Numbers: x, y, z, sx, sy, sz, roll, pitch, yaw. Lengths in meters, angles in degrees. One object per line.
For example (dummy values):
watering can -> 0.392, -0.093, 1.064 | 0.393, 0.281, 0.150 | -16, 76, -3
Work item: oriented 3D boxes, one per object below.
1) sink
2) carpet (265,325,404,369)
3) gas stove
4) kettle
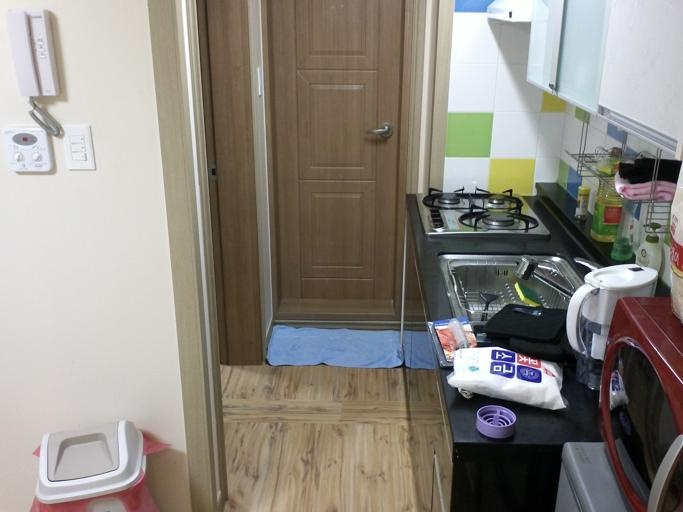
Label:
sink -> 0.681, 0.102, 2.244 | 0.542, 0.243, 0.440 | 1, 23, 0
carpet -> -0.076, 0.590, 3.504 | 0.846, 0.029, 0.632 | 0, 15, 3
gas stove -> 0.707, -0.254, 2.759 | 0.549, 0.100, 0.598 | -2, 20, 5
kettle -> 0.760, 0.195, 1.615 | 0.189, 0.397, 0.259 | 5, 23, 5
